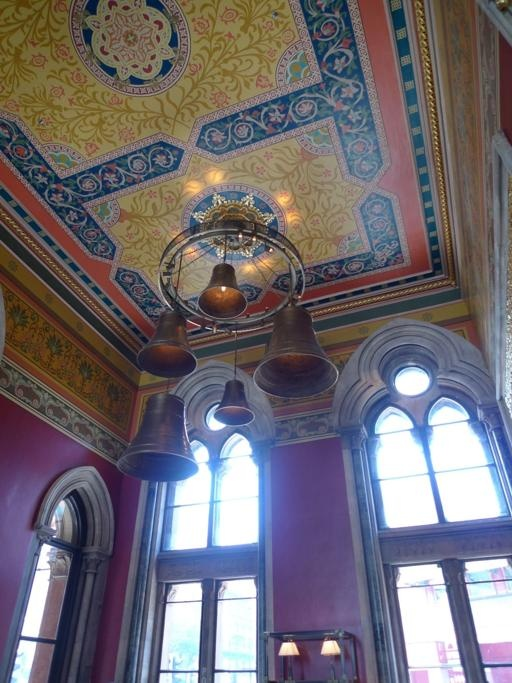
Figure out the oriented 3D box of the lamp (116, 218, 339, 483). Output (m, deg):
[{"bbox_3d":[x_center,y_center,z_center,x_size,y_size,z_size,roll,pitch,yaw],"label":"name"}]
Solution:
[{"bbox_3d":[-0.282,-0.238,3.784,1.154,2.478,1.576,8,-34,-15],"label":"lamp"}]
